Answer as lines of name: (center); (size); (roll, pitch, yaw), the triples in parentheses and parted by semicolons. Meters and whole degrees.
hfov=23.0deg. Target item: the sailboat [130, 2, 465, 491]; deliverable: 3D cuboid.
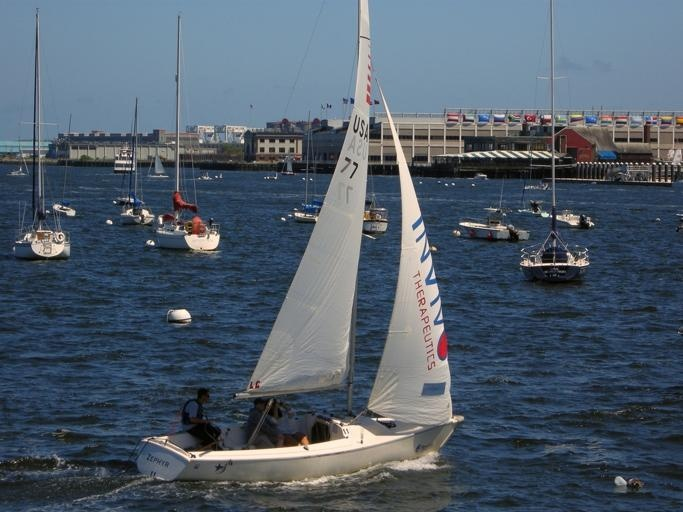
sailboat: (-0.480, -0.658, 60.945); (9.938, 17.475, 1.852); (-2, 5, -19)

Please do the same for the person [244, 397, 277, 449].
person: (-2.953, 5.985, 60.864); (1.127, 1.700, 0.646); (0, 5, -4)

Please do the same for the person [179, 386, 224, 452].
person: (-5.104, 5.849, 60.660); (1.414, 2.150, 0.592); (0, 5, -4)

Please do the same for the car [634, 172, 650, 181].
car: (34.687, -9.567, 194.869); (1.618, 0.882, 3.283); (1, 4, 11)
